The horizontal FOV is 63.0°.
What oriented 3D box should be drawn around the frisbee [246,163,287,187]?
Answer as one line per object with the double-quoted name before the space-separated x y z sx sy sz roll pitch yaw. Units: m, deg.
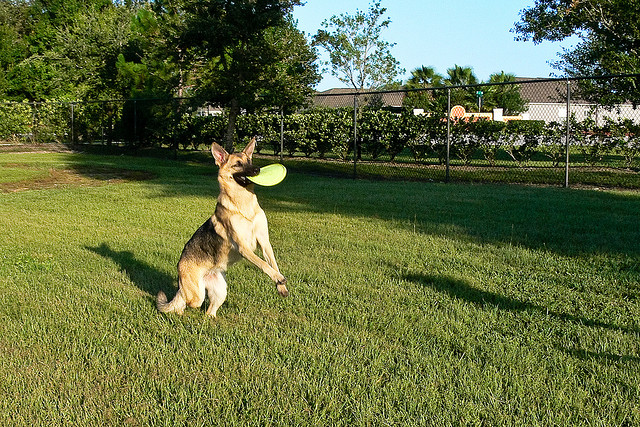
"frisbee" -0.525 -0.384 5.287 0.272 0.218 0.468 5 11 22
